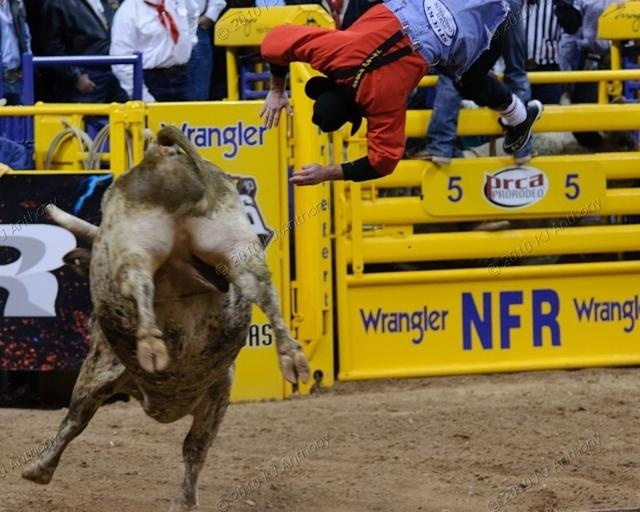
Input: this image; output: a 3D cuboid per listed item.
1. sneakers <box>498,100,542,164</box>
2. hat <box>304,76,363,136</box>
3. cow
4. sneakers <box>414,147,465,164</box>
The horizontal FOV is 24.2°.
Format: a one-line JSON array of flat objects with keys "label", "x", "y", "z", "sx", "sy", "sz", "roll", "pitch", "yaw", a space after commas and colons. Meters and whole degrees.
[{"label": "sneakers", "x": 1.570, "y": -0.940, "z": 11.415, "sx": 0.213, "sy": 0.569, "sz": 0.283, "roll": 21, "pitch": 27, "yaw": 29}, {"label": "hat", "x": 0.077, "y": -0.979, "z": 10.070, "sx": 0.301, "sy": 0.176, "sz": 0.437, "roll": 39, "pitch": -18, "yaw": 9}, {"label": "cow", "x": -0.777, "y": 0.558, "z": 9.385, "sx": 1.248, "sy": 2.554, "sz": 1.899, "roll": 7, "pitch": 43, "yaw": -3}, {"label": "sneakers", "x": 0.905, "y": -0.742, "z": 11.391, "sx": 0.282, "sy": 0.096, "sz": 0.159, "roll": 2, "pitch": -3, "yaw": 6}]
